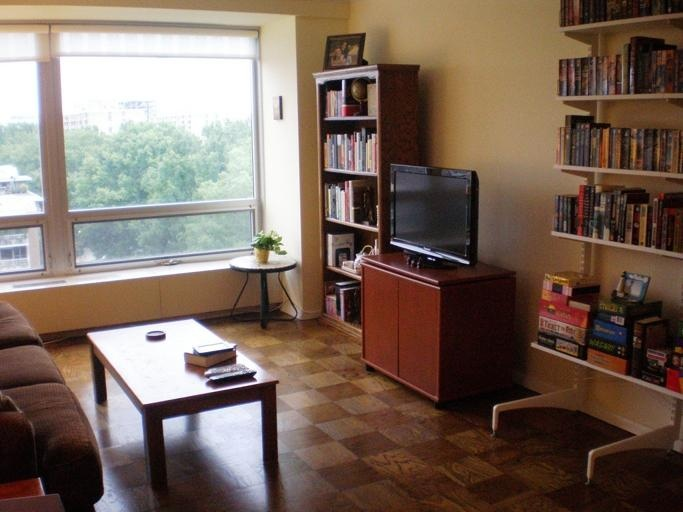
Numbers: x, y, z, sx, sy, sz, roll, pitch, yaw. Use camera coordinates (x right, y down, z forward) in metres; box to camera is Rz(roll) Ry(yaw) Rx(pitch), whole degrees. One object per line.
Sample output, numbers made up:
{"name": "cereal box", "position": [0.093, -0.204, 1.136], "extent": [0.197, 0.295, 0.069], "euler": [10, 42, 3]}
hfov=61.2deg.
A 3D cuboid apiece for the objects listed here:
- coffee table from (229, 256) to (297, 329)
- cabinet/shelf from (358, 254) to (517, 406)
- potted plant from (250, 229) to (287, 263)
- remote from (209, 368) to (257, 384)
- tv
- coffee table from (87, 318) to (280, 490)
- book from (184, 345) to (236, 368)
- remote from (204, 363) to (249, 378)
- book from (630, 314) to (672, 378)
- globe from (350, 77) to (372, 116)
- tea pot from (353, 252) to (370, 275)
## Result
{"name": "coffee table", "position": [-0.781, 0.302, 5.815], "extent": [0.659, 0.606, 0.704], "euler": [-5, 20, -18]}
{"name": "cabinet/shelf", "position": [0.750, 0.458, 4.467], "extent": [0.908, 1.082, 1.269], "euler": [-6, 14, -27]}
{"name": "potted plant", "position": [-0.720, -0.134, 5.676], "extent": [0.336, 0.281, 0.324], "euler": [7, 12, 36]}
{"name": "remote", "position": [-0.637, 0.684, 3.305], "extent": [0.166, 0.027, 0.098], "euler": [-6, 10, -24]}
{"name": "tv", "position": [0.675, -0.287, 4.149], "extent": [0.171, 0.545, 0.741], "euler": [-5, 11, -28]}
{"name": "coffee table", "position": [-0.931, 1.075, 3.513], "extent": [0.747, 0.502, 1.407], "euler": [-4, 14, -32]}
{"name": "book", "position": [-0.794, 0.600, 3.513], "extent": [0.168, 0.046, 0.168], "euler": [-8, 12, -34]}
{"name": "remote", "position": [-0.671, 0.664, 3.369], "extent": [0.181, 0.040, 0.099], "euler": [-5, 6, -19]}
{"name": "book", "position": [1.714, 0.511, 3.203], "extent": [0.191, 0.309, 0.250], "euler": [7, 16, 30]}
{"name": "globe", "position": [0.155, -1.385, 4.976], "extent": [0.091, 0.307, 0.207], "euler": [-12, 18, -40]}
{"name": "tea pot", "position": [0.144, 0.063, 5.113], "extent": [0.174, 0.246, 0.143], "euler": [3, 8, -4]}
